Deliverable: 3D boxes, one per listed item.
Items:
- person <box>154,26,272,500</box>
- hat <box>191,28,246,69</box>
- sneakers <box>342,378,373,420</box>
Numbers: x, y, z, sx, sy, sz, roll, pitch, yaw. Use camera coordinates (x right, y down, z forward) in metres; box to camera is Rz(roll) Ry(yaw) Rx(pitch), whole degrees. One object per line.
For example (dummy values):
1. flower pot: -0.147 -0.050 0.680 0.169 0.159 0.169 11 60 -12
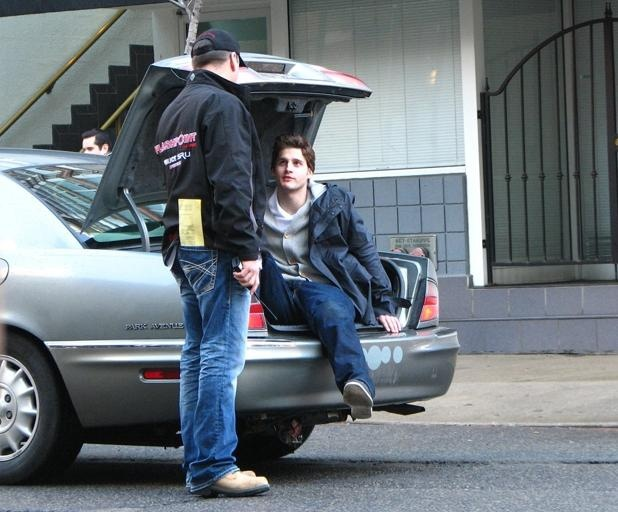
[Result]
1. person: -0.490 0.030 5.850 0.447 2.525 0.521 -2 5 -28
2. hat: -0.519 -1.183 5.995 0.207 0.134 0.274 9 0 15
3. sneakers: 0.273 0.791 5.964 0.158 0.244 0.224 1 5 4
